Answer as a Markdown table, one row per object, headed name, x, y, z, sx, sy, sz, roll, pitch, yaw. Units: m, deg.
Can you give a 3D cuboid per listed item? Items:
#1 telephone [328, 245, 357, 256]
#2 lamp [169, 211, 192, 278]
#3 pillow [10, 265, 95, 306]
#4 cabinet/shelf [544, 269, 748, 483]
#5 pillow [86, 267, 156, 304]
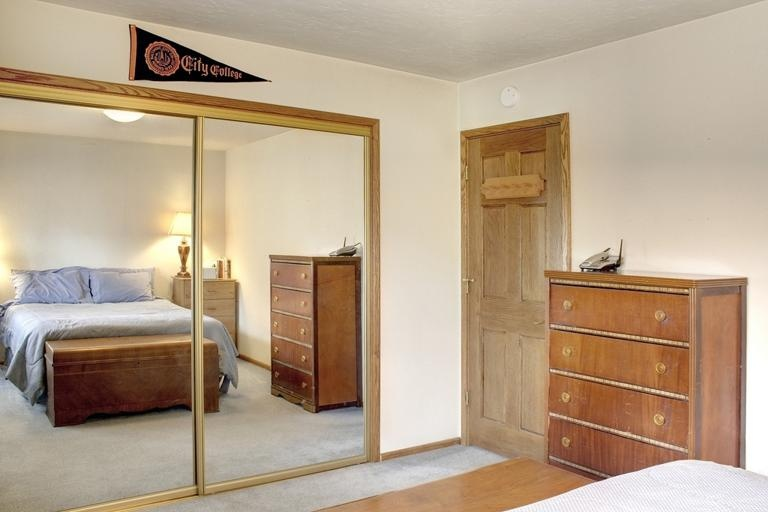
| name | x | y | z | sx | sy | sz | roll | pitch | yaw |
| --- | --- | --- | --- | --- | --- | --- | --- | --- | --- |
| telephone | -0.370 | -0.051 | 4.634 | 0.228 | 0.063 | 0.085 | -5 | -3 | -17 |
| lamp | -1.579 | -0.090 | 4.100 | 0.159 | 0.497 | 0.065 | -1 | 5 | -23 |
| pillow | -2.407 | 0.206 | 3.787 | 0.461 | 0.259 | 0.119 | 1 | -5 | -29 |
| cabinet/shelf | 1.773 | 0.844 | 3.712 | 1.321 | 1.446 | 0.525 | 3 | 5 | 31 |
| pillow | -1.995 | 0.235 | 4.022 | 0.456 | 0.289 | 0.110 | 1 | -15 | -27 |
